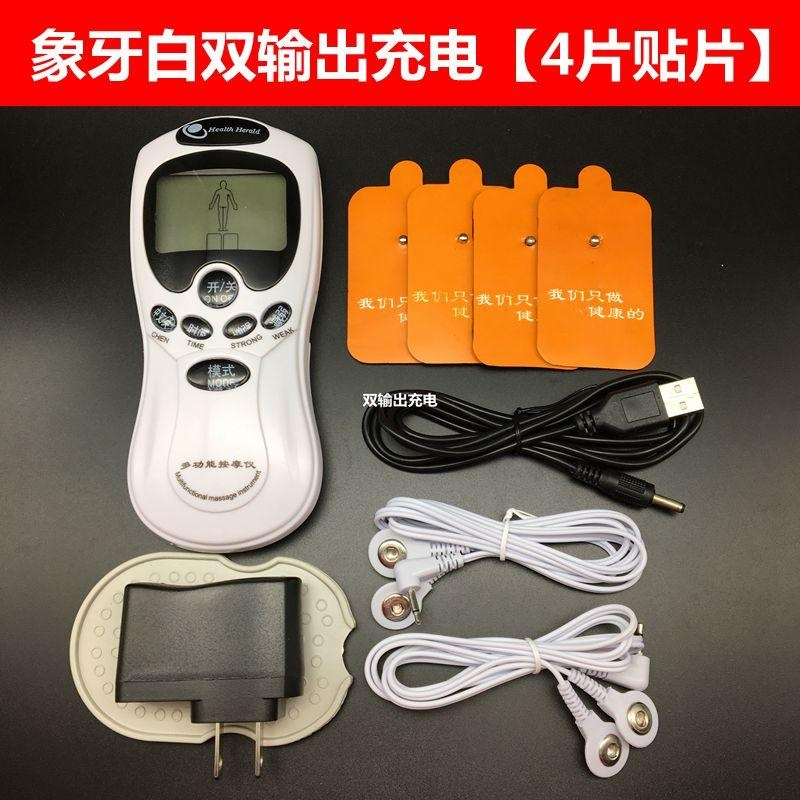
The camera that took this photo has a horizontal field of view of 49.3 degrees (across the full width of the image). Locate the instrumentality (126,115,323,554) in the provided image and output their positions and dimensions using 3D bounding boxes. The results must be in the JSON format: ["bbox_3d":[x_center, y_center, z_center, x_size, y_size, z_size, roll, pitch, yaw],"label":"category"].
[{"bbox_3d":[-0.099,-0.091,1.027,0.210,0.486,0.503,-1,77,-1],"label":"instrumentality"}]

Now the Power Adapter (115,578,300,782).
[{"bbox_3d":[-0.197,0.295,0.923,0.159,0.127,0.262,-3,59,1],"label":"Power Adapter"}]

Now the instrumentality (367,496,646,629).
[{"bbox_3d":[0.104,0.163,0.946,0.302,0.056,0.152,-1,95,8],"label":"instrumentality"}]

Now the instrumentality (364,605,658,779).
[{"bbox_3d":[0.129,0.321,0.930,0.323,0.148,0.150,-5,58,-5],"label":"instrumentality"}]

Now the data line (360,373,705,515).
[{"bbox_3d":[0.142,0.035,1.012,0.363,0.055,0.181,0,84,2],"label":"data line"}]
